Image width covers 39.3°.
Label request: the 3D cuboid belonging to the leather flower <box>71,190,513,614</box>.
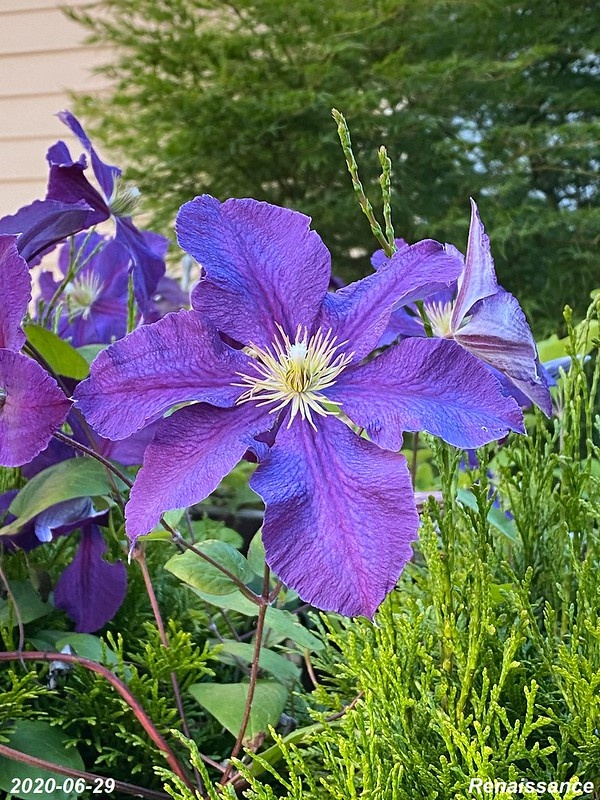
[{"bbox_3d":[-0.005,-0.012,0.597,0.319,0.285,0.074,-15,-15,16],"label":"leather flower"}]
